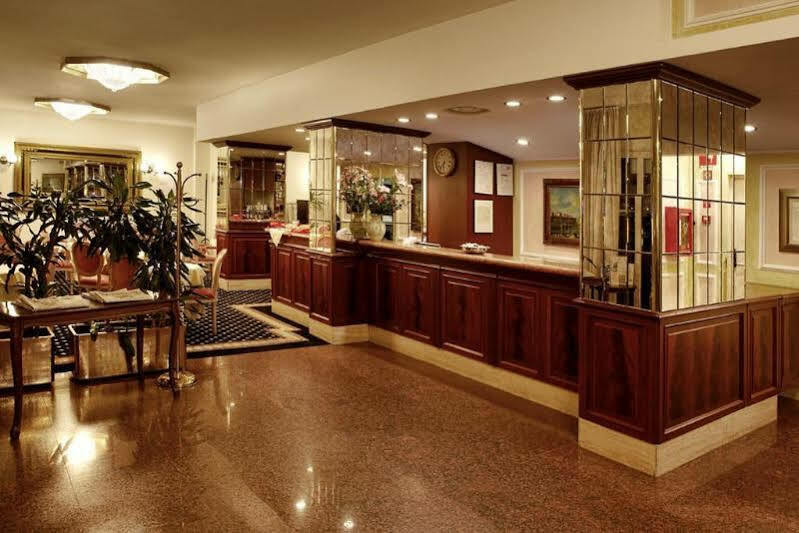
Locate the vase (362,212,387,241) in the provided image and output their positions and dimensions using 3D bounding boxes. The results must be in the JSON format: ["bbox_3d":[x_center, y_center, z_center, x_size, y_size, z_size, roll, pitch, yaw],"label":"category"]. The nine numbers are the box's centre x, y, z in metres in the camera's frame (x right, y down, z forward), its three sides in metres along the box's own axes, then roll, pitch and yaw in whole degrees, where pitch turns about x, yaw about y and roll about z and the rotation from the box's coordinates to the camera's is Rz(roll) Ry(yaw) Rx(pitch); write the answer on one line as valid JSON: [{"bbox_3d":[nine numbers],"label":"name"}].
[{"bbox_3d":[-0.385,-0.596,8.114,0.365,0.461,0.350,2,-5,-34],"label":"vase"}]

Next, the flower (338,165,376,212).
[{"bbox_3d":[-0.641,-1.197,8.201,0.589,0.832,0.631,1,0,-43],"label":"flower"}]

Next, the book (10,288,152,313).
[{"bbox_3d":[-3.289,0.345,5.593,1.255,0.113,0.511,-8,16,-34],"label":"book"}]

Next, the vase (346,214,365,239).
[{"bbox_3d":[-0.641,-0.614,8.163,0.311,0.428,0.315,1,-3,-18],"label":"vase"}]

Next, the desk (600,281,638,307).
[{"bbox_3d":[2.054,0.254,4.963,0.189,0.270,0.263,0,2,-35],"label":"desk"}]

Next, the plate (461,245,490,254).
[{"bbox_3d":[0.979,-0.213,6.861,0.306,0.126,0.388,2,13,4],"label":"plate"}]

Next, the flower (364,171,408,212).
[{"bbox_3d":[-0.174,-1.132,8.263,0.558,0.635,0.591,0,6,-24],"label":"flower"}]

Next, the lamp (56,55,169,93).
[{"bbox_3d":[-4.350,-2.948,8.175,1.460,0.411,0.726,-7,14,-29],"label":"lamp"}]

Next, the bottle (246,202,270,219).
[{"bbox_3d":[-3.193,-1.257,11.991,0.563,0.394,0.076,-10,15,-40],"label":"bottle"}]

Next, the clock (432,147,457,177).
[{"bbox_3d":[0.847,-1.986,10.175,0.140,0.545,0.590,-7,14,-35],"label":"clock"}]
